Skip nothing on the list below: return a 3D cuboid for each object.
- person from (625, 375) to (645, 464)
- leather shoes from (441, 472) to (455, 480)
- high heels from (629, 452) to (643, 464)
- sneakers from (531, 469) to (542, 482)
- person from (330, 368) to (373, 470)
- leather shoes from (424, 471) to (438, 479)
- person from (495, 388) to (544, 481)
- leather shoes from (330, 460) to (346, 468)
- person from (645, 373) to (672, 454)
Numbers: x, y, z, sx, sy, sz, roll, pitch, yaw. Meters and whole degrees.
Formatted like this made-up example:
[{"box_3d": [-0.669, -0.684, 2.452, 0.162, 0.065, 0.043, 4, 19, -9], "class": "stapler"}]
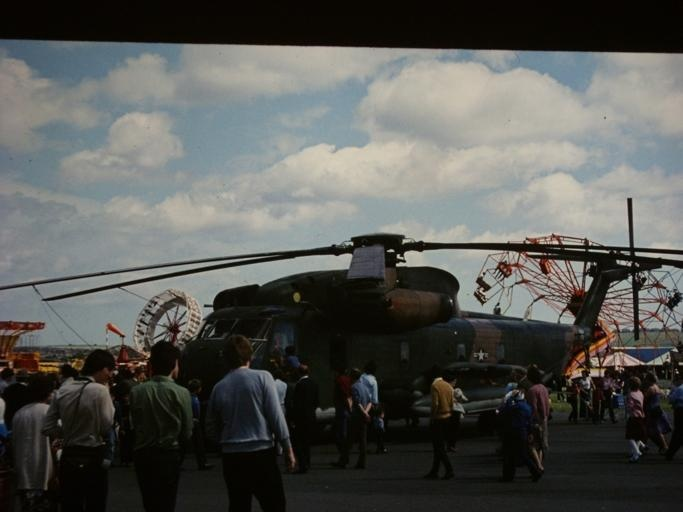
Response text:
[{"box_3d": [5.723, 3.164, 15.870, 0.333, 1.612, 0.620, -5, -8, 21], "class": "person"}, {"box_3d": [1.783, 3.681, 13.692, 0.207, 0.123, 0.272, -3, -8, 6], "class": "leather shoes"}, {"box_3d": [5.705, 3.915, 15.757, 0.159, 0.187, 0.446, -5, -13, 25], "class": "high heels"}, {"box_3d": [3.272, 3.650, 13.613, 0.155, 0.198, 0.446, -4, -8, 16], "class": "sneakers"}, {"box_3d": [0.234, 3.040, 15.303, 0.662, 1.697, 1.246, -2, -8, 1], "class": "person"}, {"box_3d": [1.507, 3.659, 13.657, 0.246, 0.141, 0.266, -3, -8, 5], "class": "leather shoes"}, {"box_3d": [3.013, 3.011, 13.765, 0.649, 1.508, 0.636, -3, -8, 12], "class": "person"}, {"box_3d": [-0.054, 3.782, 14.863, 0.284, 0.129, 0.410, -2, -8, 3], "class": "leather shoes"}, {"box_3d": [6.476, 3.235, 16.724, 0.461, 1.671, 0.704, -5, -8, 20], "class": "person"}]
